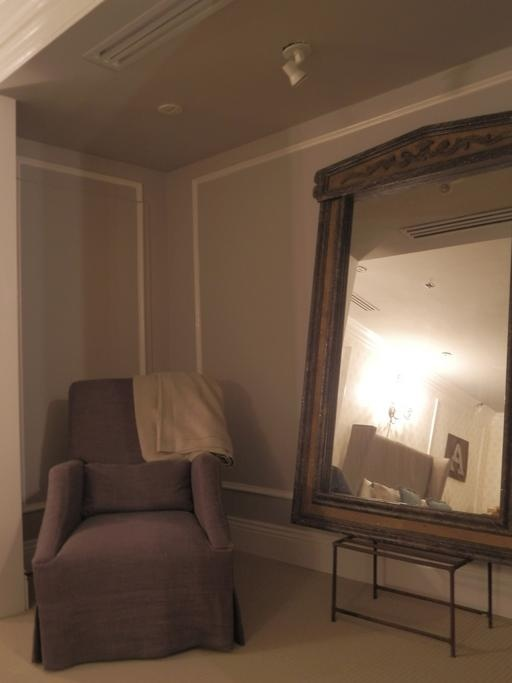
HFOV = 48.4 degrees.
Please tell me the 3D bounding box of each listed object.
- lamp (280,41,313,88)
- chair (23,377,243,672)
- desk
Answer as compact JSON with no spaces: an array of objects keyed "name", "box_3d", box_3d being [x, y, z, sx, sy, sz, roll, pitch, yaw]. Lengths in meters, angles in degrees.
[{"name":"lamp","box_3d":[0.169,-1.114,2.276,0.122,0.129,0.115,-24,23,-22]},{"name":"chair","box_3d":[-0.426,0.790,2.411,0.622,0.796,0.917,-1,-11,-8]},{"name":"desk","box_3d":[0.601,0.960,2.240,0.507,0.325,0.340,-3,-5,42]}]
